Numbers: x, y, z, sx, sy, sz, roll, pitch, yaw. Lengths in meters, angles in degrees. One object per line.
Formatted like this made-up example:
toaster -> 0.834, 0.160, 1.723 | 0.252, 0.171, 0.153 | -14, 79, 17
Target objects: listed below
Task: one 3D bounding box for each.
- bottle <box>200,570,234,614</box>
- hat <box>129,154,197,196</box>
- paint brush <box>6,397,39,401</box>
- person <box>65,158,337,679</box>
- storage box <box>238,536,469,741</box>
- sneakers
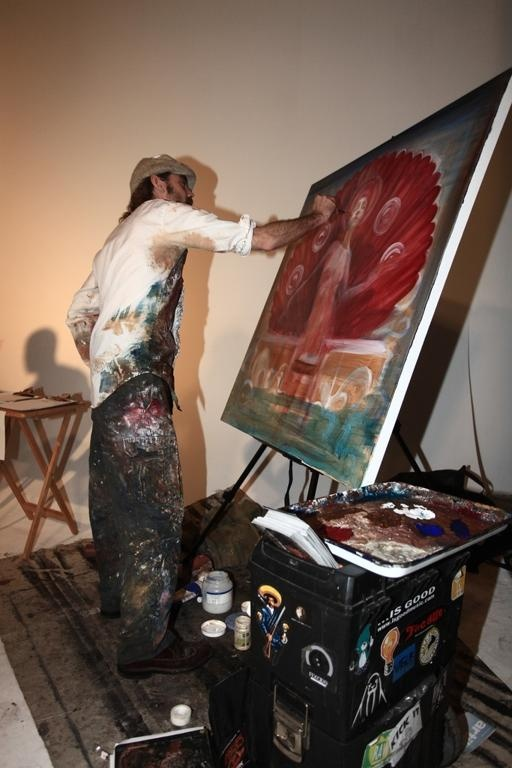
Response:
bottle -> -0.138, 0.748, 2.259 | 0.130, 0.134, 0.128 | -1, 1, 33
hat -> -0.283, -0.691, 2.019 | 0.168, 0.066, 0.157 | -3, 6, 32
paint brush -> -1.117, 0.072, 2.933 | 0.084, 0.003, 0.077 | -2, 6, 8
person -> -0.295, 0.057, 1.995 | 0.497, 1.579, 0.712 | -4, 11, -29
storage box -> 0.196, 0.513, 1.414 | 0.568, 0.353, 0.361 | -3, 9, -42
sneakers -> -0.275, 0.800, 1.843 | 0.230, 0.098, 0.100 | -14, 14, -25
